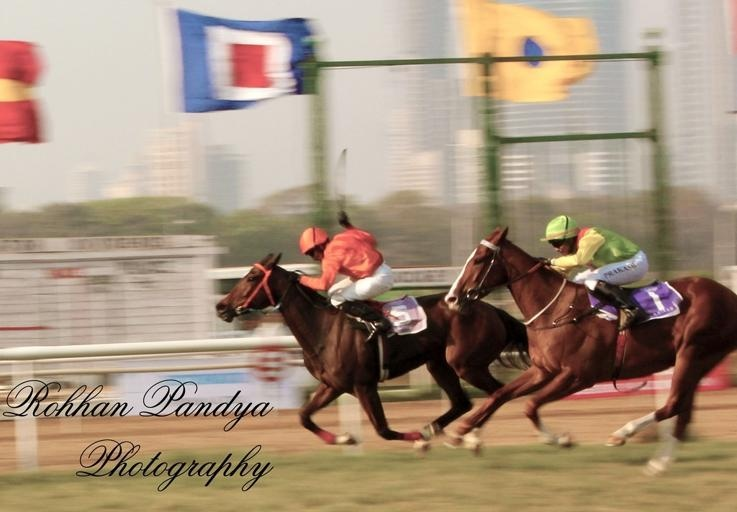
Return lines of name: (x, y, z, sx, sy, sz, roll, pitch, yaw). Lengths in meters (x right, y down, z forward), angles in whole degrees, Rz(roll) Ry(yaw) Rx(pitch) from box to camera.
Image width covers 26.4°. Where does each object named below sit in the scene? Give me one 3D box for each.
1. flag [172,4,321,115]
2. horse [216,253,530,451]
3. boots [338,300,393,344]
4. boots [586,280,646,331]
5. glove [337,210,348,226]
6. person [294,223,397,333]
flag: (-1.301, -2.107, 17.382, 1.297, 1.055, 0.358, 2, 16, 19)
horse: (0.192, 0.916, 15.130, 3.653, 1.359, 0.685, 4, -8, -23)
boots: (-0.005, 0.609, 14.856, 0.477, 0.162, 0.474, 27, 24, 29)
boots: (2.339, 0.472, 14.796, 0.250, 0.438, 0.415, -12, 16, -32)
glove: (-0.239, -0.343, 15.150, 0.103, 0.158, 0.231, -3, 11, -1)
person: (-0.216, 0.257, 15.219, 1.052, 1.018, 0.771, 1, 46, 17)
